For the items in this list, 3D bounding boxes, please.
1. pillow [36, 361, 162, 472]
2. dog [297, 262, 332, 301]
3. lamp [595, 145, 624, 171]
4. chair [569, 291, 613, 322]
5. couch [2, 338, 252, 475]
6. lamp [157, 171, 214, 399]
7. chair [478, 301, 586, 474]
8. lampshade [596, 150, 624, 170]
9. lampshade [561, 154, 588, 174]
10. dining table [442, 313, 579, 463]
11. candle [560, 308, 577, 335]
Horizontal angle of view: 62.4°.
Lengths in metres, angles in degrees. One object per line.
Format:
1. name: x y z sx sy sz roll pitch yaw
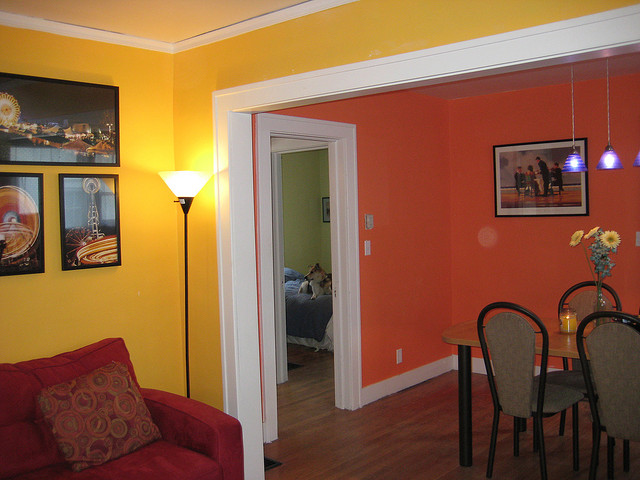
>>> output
1. pillow: -1.321 1.068 3.213 0.322 0.488 0.632 3 6 43
2. dog: 0.079 0.600 7.548 0.272 0.465 0.891 -1 -9 41
3. lamp: 2.404 -0.683 4.471 0.210 0.235 0.224 -2 3 -1
4. chair: 2.312 0.570 4.440 0.165 0.263 0.291 2 -6 26
5. couch: -1.237 1.084 3.151 0.836 0.582 0.904 0 5 42
6. lamp: -0.937 0.337 3.768 0.339 1.636 0.277 3 6 44
7. chair: 1.649 1.024 4.086 0.718 1.297 1.302 1 5 23
8. lampshade: 2.436 -0.682 4.432 0.236 0.158 0.146 -5 6 -38
9. lampshade: 2.190 -0.660 4.550 0.180 0.126 0.177 0 7 35
10. dining table: 1.389 0.998 4.141 1.143 1.103 1.189 -1 9 9
11. candle: 1.823 0.591 3.879 0.154 0.227 0.158 -1 1 25
